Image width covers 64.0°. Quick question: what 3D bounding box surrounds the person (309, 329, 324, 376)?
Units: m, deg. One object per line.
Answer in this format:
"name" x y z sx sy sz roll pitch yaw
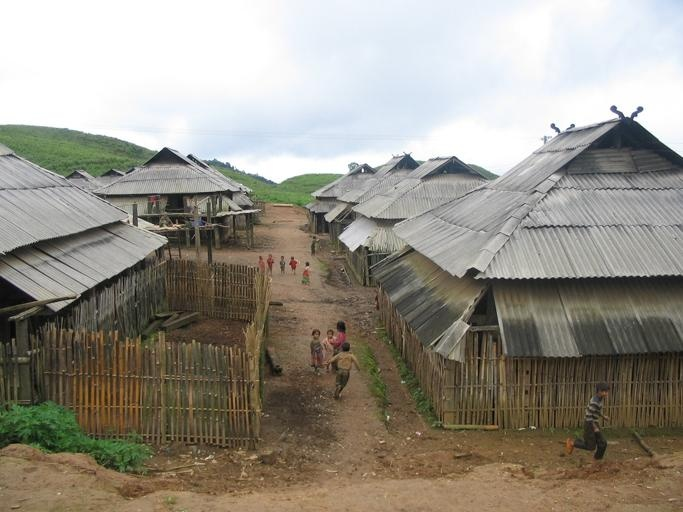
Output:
"person" -0.722 2.834 16.242 0.346 1.330 0.632 -2 5 -2

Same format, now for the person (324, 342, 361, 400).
"person" -0.045 3.153 15.125 0.843 1.450 0.823 4 -4 28
